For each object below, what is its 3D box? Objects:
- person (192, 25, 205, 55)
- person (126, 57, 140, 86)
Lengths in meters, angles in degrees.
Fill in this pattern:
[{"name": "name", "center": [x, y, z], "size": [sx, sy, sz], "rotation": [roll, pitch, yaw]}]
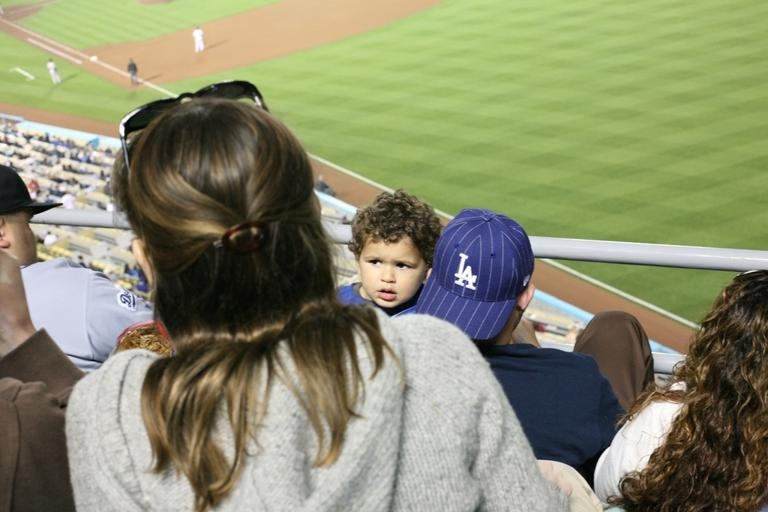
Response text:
[{"name": "person", "center": [-4.838, -5.642, 29.889], "size": [0.351, 0.598, 0.973], "rotation": [8, 13, -11]}, {"name": "person", "center": [-6.227, -4.571, 28.724], "size": [0.306, 0.816, 0.381], "rotation": [-19, 31, -27]}]
